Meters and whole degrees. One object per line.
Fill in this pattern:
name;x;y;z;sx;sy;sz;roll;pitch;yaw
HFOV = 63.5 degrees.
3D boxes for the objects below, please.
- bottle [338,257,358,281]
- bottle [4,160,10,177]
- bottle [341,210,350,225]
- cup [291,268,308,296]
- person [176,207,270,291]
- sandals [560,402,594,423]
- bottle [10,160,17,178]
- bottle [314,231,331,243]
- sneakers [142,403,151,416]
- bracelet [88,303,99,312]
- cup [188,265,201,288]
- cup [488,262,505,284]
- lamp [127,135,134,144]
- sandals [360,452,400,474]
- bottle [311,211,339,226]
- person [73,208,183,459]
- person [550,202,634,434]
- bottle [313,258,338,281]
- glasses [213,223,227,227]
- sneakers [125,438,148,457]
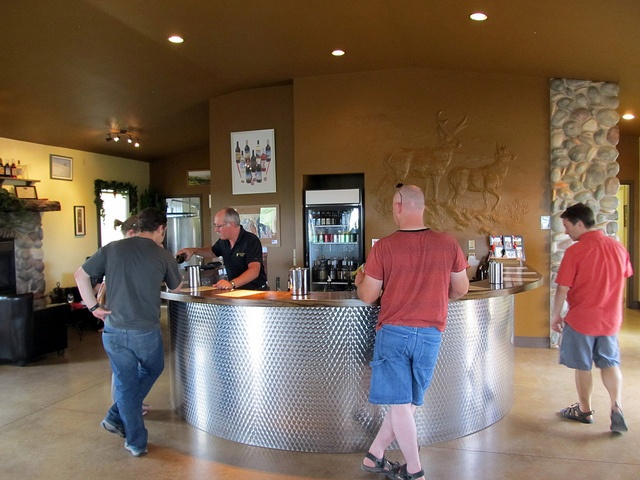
bottle;0.422;0.455;8.050;0.349;0.398;0.272;2;-2;-1
bottle;-5.750;-1.301;9.482;0.102;0.299;0.298;-5;9;-31
bottle;0.383;-0.343;8.117;0.137;0.207;0.022;2;8;24
cup;-0.200;0.407;4.923;0.234;0.308;0.220;0;-1;0
person;-1.034;0.137;5.779;0.780;0.968;0.777;3;8;26
sandals;2.623;1.781;5.380;0.132;0.168;0.358;-1;2;-35
bottle;-5.687;-1.303;9.587;0.100;0.302;0.328;-5;8;-28
bottle;0.042;-0.054;8.230;0.186;0.117;0.189;0;5;0
sneakers;-1.903;1.848;5.635;0.067;0.080;0.183;1;2;-6
bracelet;-2.162;0.652;4.909;0.105;0.032;0.107;-25;1;25
cup;-1.357;0.397;5.547;0.135;0.223;0.320;-3;8;-15
cup;1.802;0.330;5.307;0.136;0.242;0.191;1;8;15
lamp;-4.117;-2.139;11.148;0.116;0.128;0.133;0;4;-4
sandals;0.511;1.936;4.457;0.402;0.183;0.144;-1;0;-8
bottle;0.061;-0.339;8.205;0.486;0.227;0.109;-1;7;1
person;-1.754;0.857;4.874;0.896;2.263;0.463;-5;8;-26
person;2.698;0.764;5.171;0.691;2.201;0.400;2;8;25
bottle;0.077;0.482;8.249;0.323;0.308;0.119;2;-12;-8
glasses;-1.131;-0.149;5.745;0.074;0.059;0.234;-5;9;-30
sneakers;-1.741;1.928;4.862;0.101;0.105;0.226;1;8;-28
